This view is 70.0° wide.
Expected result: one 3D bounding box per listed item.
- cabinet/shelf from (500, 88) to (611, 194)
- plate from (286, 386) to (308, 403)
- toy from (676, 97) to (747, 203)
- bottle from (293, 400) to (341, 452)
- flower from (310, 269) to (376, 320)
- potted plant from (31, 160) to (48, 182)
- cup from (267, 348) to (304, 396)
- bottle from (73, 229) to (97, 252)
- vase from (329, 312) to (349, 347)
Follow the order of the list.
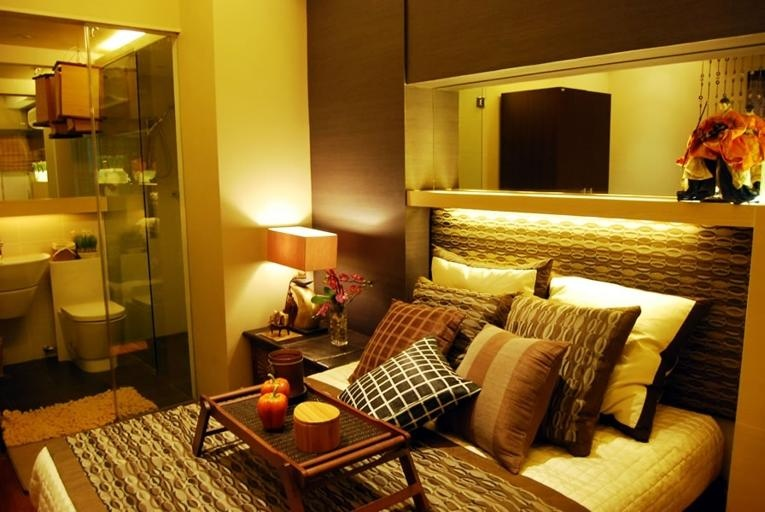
[{"bbox_3d":[1.064,-0.750,3.700,0.384,0.661,0.487,3,5,32],"label":"cabinet/shelf"},{"bbox_3d":[-0.448,0.737,2.905,0.080,0.031,0.078,-2,3,-15],"label":"plate"},{"bbox_3d":[1.755,-0.551,2.826,0.343,0.527,0.172,8,16,33],"label":"toy"},{"bbox_3d":[-0.311,0.798,2.554,0.236,0.140,0.220,9,3,0],"label":"bottle"},{"bbox_3d":[-0.372,0.330,4.075,0.381,0.378,0.354,13,-18,-30],"label":"flower"},{"bbox_3d":[-2.425,-0.598,3.863,0.093,0.147,0.034,-9,16,-31],"label":"potted plant"},{"bbox_3d":[-0.518,0.625,2.940,0.181,0.188,0.178,3,-5,0],"label":"cup"},{"bbox_3d":[-2.212,-0.115,4.067,0.150,0.189,0.146,-5,-5,0],"label":"bottle"},{"bbox_3d":[-0.321,0.571,4.118,0.144,0.251,0.135,-2,5,-19],"label":"vase"}]
